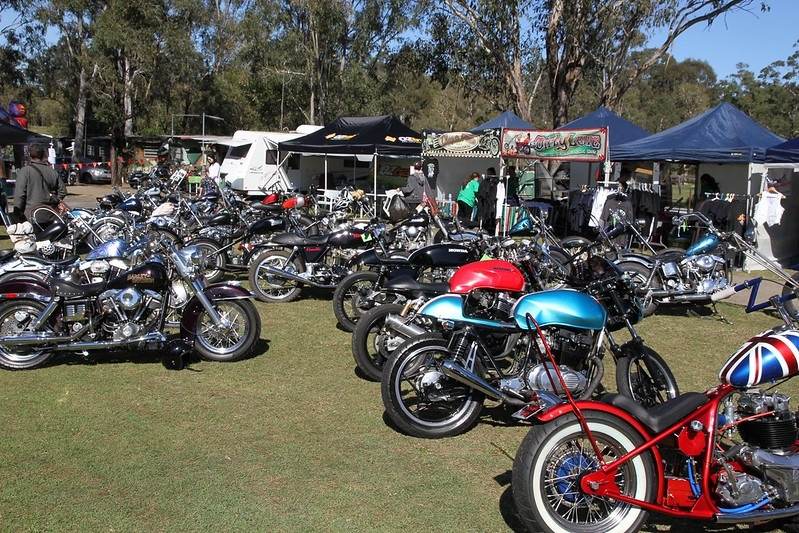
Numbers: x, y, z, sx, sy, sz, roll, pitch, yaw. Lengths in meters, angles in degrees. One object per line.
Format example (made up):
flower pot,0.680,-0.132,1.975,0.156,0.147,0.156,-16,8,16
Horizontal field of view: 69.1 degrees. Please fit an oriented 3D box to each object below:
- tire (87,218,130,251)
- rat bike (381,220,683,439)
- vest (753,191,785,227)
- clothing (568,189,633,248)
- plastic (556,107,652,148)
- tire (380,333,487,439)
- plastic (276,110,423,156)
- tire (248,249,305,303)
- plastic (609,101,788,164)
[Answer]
tire,-5.101,-0.578,10.169,0.747,0.797,0.277,-3,-7,-12
rat bike,1.358,0.734,5.618,3.003,1.716,1.431,-1,0,-8
vest,8.132,-1.303,12.831,0.744,1.008,0.129,8,2,10
clothing,4.354,-1.085,12.490,1.027,1.702,1.065,0,-14,7
plastic,6.598,-4.382,18.030,2.927,0.928,2.251,6,5,23
tire,0.327,1.129,5.656,0.960,1.018,0.775,1,5,0
plastic,-1.446,-4.697,20.578,4.637,1.631,1.929,3,5,25
tire,-1.947,0.151,9.276,0.705,0.754,0.195,11,12,-2
plastic,7.739,-3.248,14.817,2.684,0.849,2.761,5,13,4
